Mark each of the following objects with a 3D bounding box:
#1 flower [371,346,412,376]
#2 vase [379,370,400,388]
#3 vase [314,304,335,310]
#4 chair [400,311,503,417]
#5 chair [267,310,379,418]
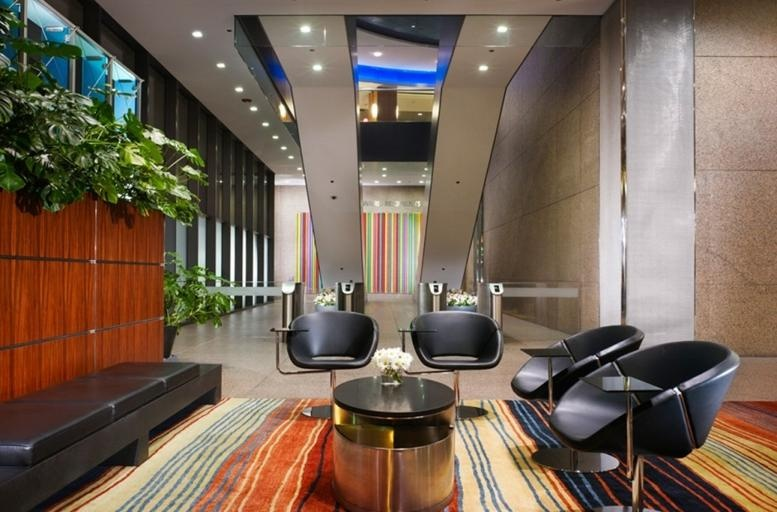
[{"bbox_3d":[0.032,0.922,4.713,0.319,0.283,0.245,1,10,5],"label":"flower"},{"bbox_3d":[0.016,1.047,4.714,0.137,0.082,0.136,1,-1,-2],"label":"vase"},{"bbox_3d":[-1.155,0.938,10.127,0.215,0.082,0.215,-1,-7,12],"label":"vase"},{"bbox_3d":[0.612,1.128,5.616,1.071,0.981,0.748,2,0,-16],"label":"chair"},{"bbox_3d":[-0.642,1.133,5.676,1.050,0.983,0.751,0,2,-19],"label":"chair"}]
